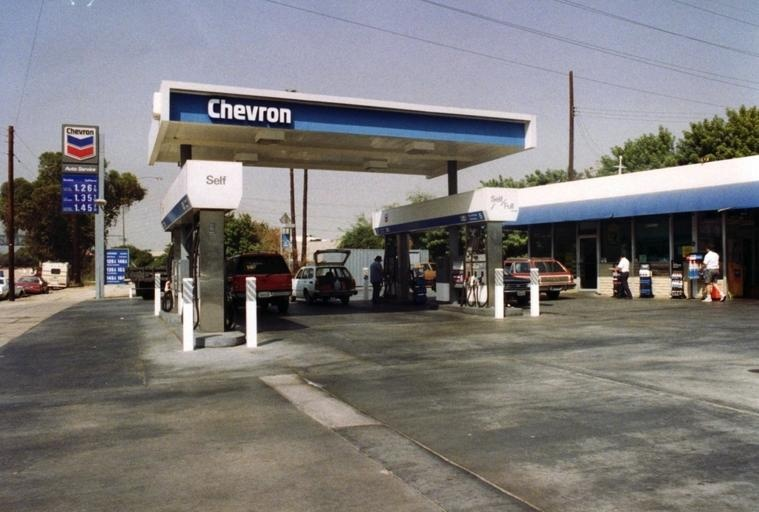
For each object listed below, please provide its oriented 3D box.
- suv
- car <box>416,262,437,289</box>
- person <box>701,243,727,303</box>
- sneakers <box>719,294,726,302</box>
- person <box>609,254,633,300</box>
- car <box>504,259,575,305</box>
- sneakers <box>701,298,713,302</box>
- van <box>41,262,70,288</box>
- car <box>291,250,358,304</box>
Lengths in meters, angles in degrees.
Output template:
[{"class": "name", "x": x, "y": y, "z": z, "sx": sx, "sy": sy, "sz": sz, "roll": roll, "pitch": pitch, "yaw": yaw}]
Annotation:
[{"class": "suv", "x": -4.654, "y": 0.807, "z": 25.363, "sx": 1.539, "sy": 1.458, "sz": 2.945, "roll": 0, "pitch": 1, "yaw": -20}, {"class": "car", "x": 2.927, "y": 1.120, "z": 41.179, "sx": 1.152, "sy": 1.120, "sz": 1.925, "roll": 0, "pitch": -6, "yaw": -13}, {"class": "person", "x": 12.726, "y": 0.624, "z": 25.431, "sx": 0.805, "sy": 2.125, "sz": 1.586, "roll": 2, "pitch": 6, "yaw": 26}, {"class": "sneakers", "x": 13.130, "y": 1.616, "z": 25.518, "sx": 0.169, "sy": 0.224, "sz": 0.509, "roll": -2, "pitch": 0, "yaw": 10}, {"class": "person", "x": 10.286, "y": 0.899, "z": 28.288, "sx": 0.549, "sy": 1.787, "sz": 1.147, "roll": 0, "pitch": 5, "yaw": 6}, {"class": "car", "x": 6.750, "y": 0.924, "z": 27.808, "sx": 1.499, "sy": 1.202, "sz": 2.649, "roll": -1, "pitch": 5, "yaw": -22}, {"class": "sneakers", "x": 12.376, "y": 1.671, "z": 25.260, "sx": 0.176, "sy": 0.206, "sz": 0.448, "roll": 2, "pitch": 0, "yaw": -2}, {"class": "van", "x": -28.771, "y": 1.620, "z": 59.425, "sx": 1.826, "sy": 1.626, "sz": 3.050, "roll": 0, "pitch": 4, "yaw": -25}, {"class": "car", "x": -2.688, "y": 1.141, "z": 29.521, "sx": 1.497, "sy": 1.946, "sz": 3.153, "roll": -5, "pitch": 7, "yaw": -43}]
